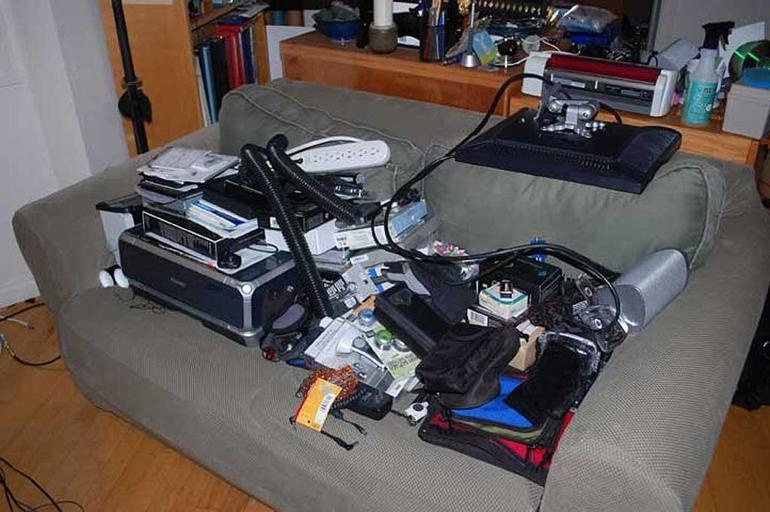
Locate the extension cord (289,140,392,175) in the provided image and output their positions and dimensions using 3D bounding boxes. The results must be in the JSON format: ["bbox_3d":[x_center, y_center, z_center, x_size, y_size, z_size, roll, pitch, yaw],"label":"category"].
[{"bbox_3d":[-0.148,-0.387,1.972,0.371,0.048,0.118,-5,61,-2],"label":"extension cord"}]

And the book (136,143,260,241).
[{"bbox_3d":[-0.543,-0.247,2.139,0.481,0.293,0.403,21,38,30],"label":"book"}]

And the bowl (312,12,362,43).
[{"bbox_3d":[-0.240,-1.078,2.863,0.172,0.093,0.169,3,12,-1],"label":"bowl"}]

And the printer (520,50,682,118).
[{"bbox_3d":[0.953,-0.819,2.491,0.781,0.269,0.496,13,32,25],"label":"printer"}]

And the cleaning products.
[{"bbox_3d":[1.205,-0.694,2.281,0.145,0.391,0.209,17,32,32],"label":"cleaning products"}]
